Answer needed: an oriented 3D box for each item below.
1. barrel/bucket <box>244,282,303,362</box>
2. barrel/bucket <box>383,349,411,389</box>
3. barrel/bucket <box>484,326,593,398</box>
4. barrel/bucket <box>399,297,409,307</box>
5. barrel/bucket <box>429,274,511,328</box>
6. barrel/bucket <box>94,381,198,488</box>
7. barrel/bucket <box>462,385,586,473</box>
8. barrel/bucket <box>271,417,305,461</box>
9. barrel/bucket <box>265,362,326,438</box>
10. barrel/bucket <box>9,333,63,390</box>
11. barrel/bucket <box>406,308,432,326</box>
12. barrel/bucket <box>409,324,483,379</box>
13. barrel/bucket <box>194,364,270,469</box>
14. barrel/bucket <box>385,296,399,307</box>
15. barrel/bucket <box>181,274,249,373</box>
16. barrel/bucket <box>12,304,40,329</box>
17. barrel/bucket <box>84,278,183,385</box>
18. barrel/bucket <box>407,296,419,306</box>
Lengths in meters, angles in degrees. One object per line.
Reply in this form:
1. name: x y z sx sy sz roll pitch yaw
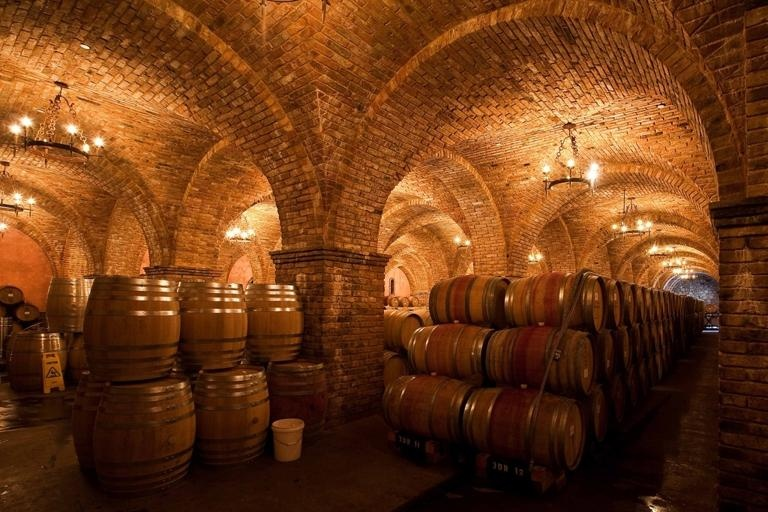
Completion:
1. barrel/bucket: -1.924 1.065 8.236 1.154 1.109 1.097 -1 -3 0
2. barrel/bucket: 0.186 2.069 9.490 0.531 0.497 0.698 3 4 -26
3. barrel/bucket: 2.267 1.339 7.126 1.523 1.024 1.057 -2 -11 35
4. barrel/bucket: 0.829 1.870 20.833 0.369 0.314 0.366 1 -3 0
5. barrel/bucket: 1.263 0.679 7.785 1.147 0.781 0.503 3 7 13
6. barrel/bucket: -2.846 2.140 6.410 1.215 1.158 1.262 0 -4 0
7. barrel/bucket: 1.749 2.184 6.523 1.431 0.947 0.659 4 7 21
8. barrel/bucket: -1.343 2.512 7.043 0.538 0.423 0.498 1 -6 0
9. barrel/bucket: -1.222 2.089 7.706 1.048 0.914 1.008 -1 -3 0
10. barrel/bucket: -6.803 2.012 10.158 1.146 1.048 1.055 0 -3 0
11. barrel/bucket: 0.702 1.216 10.179 0.333 0.436 0.343 -12 -29 -7
12. barrel/bucket: 0.907 1.355 7.247 0.715 0.476 0.552 -1 21 47
13. barrel/bucket: -1.998 2.122 7.078 1.167 1.072 1.164 0 -3 0
14. barrel/bucket: 0.294 1.803 20.252 0.376 0.424 1.114 4 7 18
15. barrel/bucket: -2.605 0.988 7.407 1.159 1.095 1.134 0 -6 0
16. barrel/bucket: -9.966 1.680 14.187 0.951 0.600 0.642 -8 -8 9
17. barrel/bucket: -3.253 0.933 6.674 1.211 1.097 1.129 2 -7 0
18. barrel/bucket: 1.192 1.893 21.623 0.481 0.431 0.462 1 -3 0
